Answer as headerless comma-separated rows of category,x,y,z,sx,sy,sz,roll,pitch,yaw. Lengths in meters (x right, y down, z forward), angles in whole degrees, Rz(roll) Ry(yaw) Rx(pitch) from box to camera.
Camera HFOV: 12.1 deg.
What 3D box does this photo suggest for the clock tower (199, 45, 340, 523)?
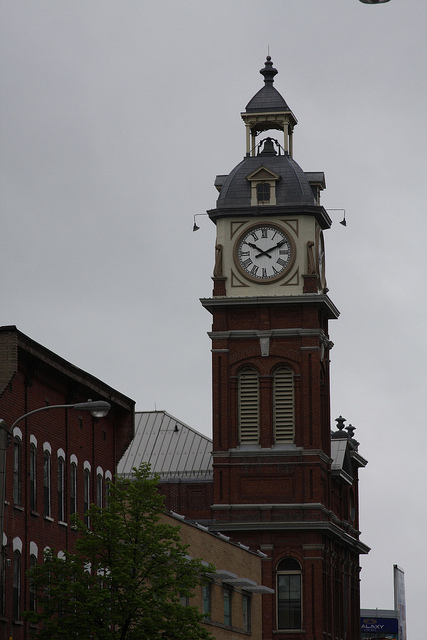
clock tower,2.473,-0.402,88.903,6.708,23.010,6.553,-15,-24,36
